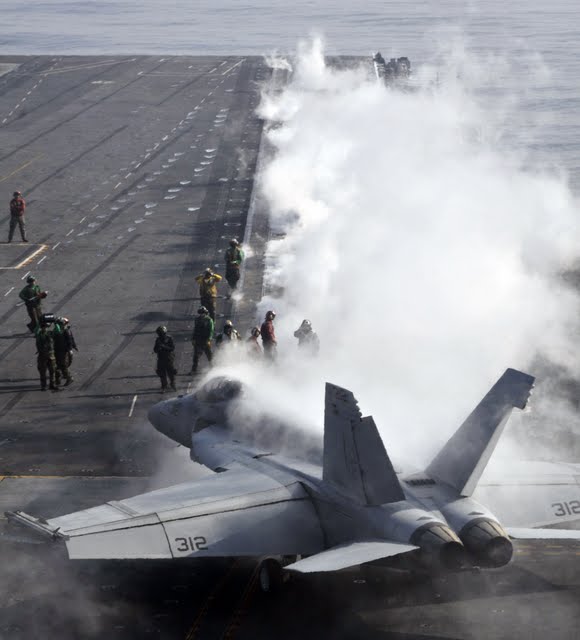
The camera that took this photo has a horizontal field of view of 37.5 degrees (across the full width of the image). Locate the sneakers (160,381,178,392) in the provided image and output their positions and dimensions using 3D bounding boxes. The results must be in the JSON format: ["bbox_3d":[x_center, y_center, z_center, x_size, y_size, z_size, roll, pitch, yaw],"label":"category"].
[{"bbox_3d":[-3.349,1.871,23.514,0.330,0.290,0.161,1,3,8],"label":"sneakers"}]

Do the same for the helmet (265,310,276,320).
[{"bbox_3d":[-0.488,-0.123,23.271,0.255,0.248,0.286,10,-5,-16],"label":"helmet"}]

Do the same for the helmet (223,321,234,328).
[{"bbox_3d":[-1.681,0.158,22.900,0.255,0.104,0.310,-1,5,0],"label":"helmet"}]

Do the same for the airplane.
[{"bbox_3d":[0.197,2.796,13.649,6.226,1.793,5.544,-1,10,-39],"label":"airplane"}]

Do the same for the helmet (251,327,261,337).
[{"bbox_3d":[-0.909,0.335,22.141,0.242,0.129,0.253,4,-1,-1],"label":"helmet"}]
